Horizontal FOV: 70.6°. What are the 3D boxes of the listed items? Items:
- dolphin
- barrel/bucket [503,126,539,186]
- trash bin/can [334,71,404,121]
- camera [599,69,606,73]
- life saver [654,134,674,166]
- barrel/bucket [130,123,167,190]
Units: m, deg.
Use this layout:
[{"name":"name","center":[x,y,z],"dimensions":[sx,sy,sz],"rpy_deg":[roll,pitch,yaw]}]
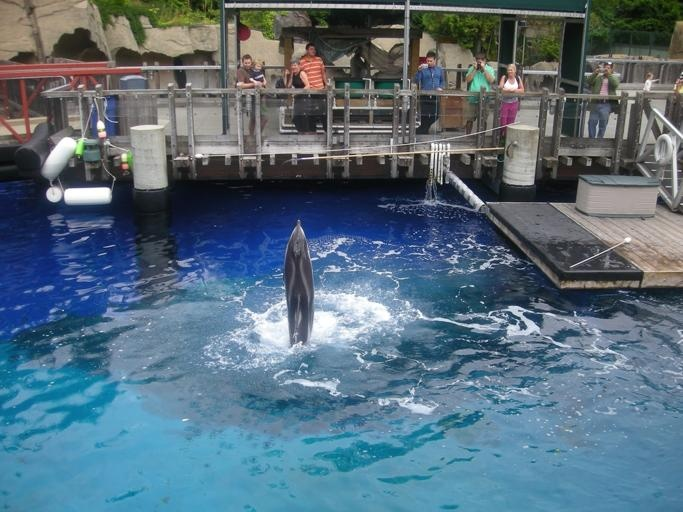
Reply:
[{"name":"dolphin","center":[-0.635,0.482,7.895],"dimensions":[0.591,2.314,0.732],"rpy_deg":[4,24,2]},{"name":"barrel/bucket","center":[5.102,-2.846,13.561],"dimensions":[1.469,1.481,1.216],"rpy_deg":[1,21,0]},{"name":"trash bin/can","center":[0.764,-4.837,14.580],"dimensions":[2.010,1.647,3.560],"rpy_deg":[-1,13,3]},{"name":"camera","center":[8.039,-5.699,14.837],"dimensions":[0.197,0.037,0.159],"rpy_deg":[7,38,33]},{"name":"life saver","center":[8.099,-2.668,12.035],"dimensions":[0.320,0.764,0.944],"rpy_deg":[3,15,17]},{"name":"barrel/bucket","center":[-4.989,-2.535,12.520],"dimensions":[0.940,1.654,0.364],"rpy_deg":[-6,18,-15]}]
